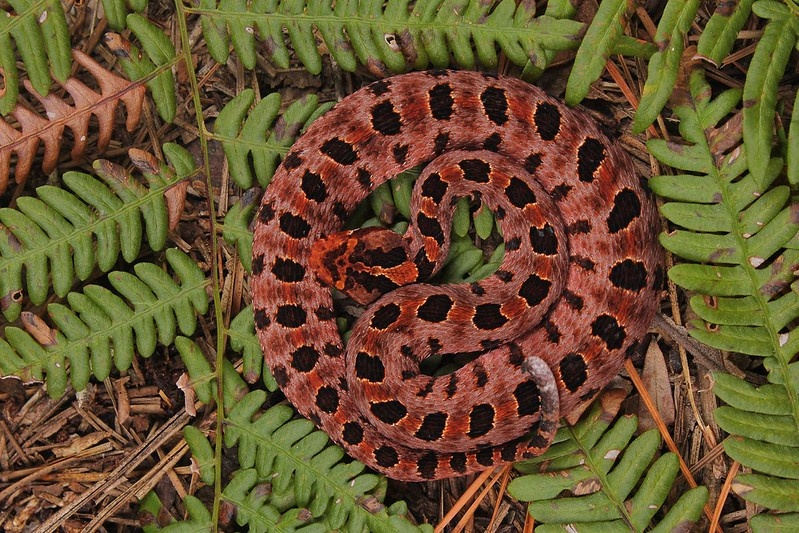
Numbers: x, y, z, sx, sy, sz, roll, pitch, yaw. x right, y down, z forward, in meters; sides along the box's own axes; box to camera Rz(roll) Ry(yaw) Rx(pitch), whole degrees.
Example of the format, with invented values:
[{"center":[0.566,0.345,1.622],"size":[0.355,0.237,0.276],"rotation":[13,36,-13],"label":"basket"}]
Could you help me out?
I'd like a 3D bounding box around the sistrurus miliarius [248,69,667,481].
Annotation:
[{"center":[0.389,0.027,6.290],"size":[2.786,1.522,2.555],"rotation":[20,60,8],"label":"sistrurus miliarius"}]
